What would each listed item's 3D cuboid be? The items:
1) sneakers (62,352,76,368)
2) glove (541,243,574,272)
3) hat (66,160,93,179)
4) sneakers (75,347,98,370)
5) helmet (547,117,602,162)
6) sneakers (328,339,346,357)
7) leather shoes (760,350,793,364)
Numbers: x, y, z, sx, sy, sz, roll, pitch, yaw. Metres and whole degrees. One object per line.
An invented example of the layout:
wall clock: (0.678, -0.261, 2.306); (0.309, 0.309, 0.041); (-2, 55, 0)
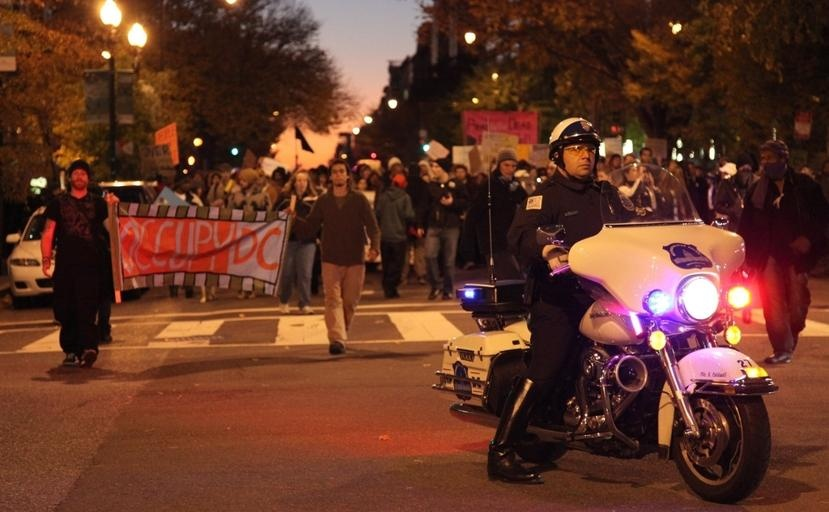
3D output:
sneakers: (-5.027, 1.520, 12.409); (0.121, 0.141, 0.332); (7, -11, -4)
glove: (1.243, 0.000, 7.427); (0.183, 0.241, 0.081); (-22, -19, -25)
hat: (-4.970, -1.281, 12.582); (0.297, 0.257, 0.320); (2, -4, -9)
sneakers: (-4.693, 1.491, 12.167); (0.185, 0.389, 0.175); (23, 19, -17)
helmet: (1.500, -1.097, 8.074); (0.573, 0.440, 0.523); (-2, 5, 41)
sneakers: (-1.172, 1.391, 12.893); (0.195, 0.174, 0.414); (0, -8, -2)
leather shoes: (5.081, 1.411, 11.894); (0.435, 0.166, 0.159); (-1, 1, -9)
